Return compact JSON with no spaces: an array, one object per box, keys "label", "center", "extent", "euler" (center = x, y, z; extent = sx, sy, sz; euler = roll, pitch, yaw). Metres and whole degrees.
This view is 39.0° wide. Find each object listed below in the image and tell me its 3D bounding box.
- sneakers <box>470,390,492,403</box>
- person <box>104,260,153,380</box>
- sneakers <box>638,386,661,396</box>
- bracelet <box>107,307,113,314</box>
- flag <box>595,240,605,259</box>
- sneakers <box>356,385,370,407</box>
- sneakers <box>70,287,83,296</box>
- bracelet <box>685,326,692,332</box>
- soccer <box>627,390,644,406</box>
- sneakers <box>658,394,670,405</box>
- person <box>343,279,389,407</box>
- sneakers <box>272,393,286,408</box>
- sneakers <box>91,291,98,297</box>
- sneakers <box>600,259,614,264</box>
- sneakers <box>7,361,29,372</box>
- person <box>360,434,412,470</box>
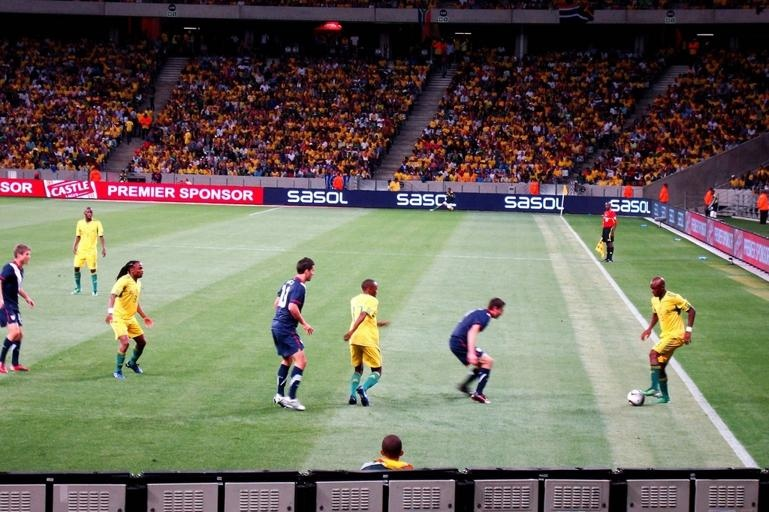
[{"label":"sneakers","center":[2.552,3.692,28.485],"extent":[0.510,0.220,0.220],"euler":[30,27,3]},{"label":"person","center":[-6.817,1.649,29.240],"extent":[1.036,3.091,1.109],"euler":[5,14,3]},{"label":"sneakers","center":[6.959,3.574,28.551],"extent":[0.576,0.247,0.214],"euler":[2,30,3]},{"label":"bracelet","center":[-7.279,1.462,28.887],"extent":[0.206,0.151,0.219],"euler":[-1,4,-8]},{"label":"flag","center":[8.922,-0.261,44.953],"extent":[0.238,0.612,0.626],"euler":[-18,-27,19]},{"label":"sneakers","center":[-0.509,3.610,28.096],"extent":[0.212,0.590,0.257],"euler":[-20,-1,14]},{"label":"sneakers","center":[-10.160,1.140,36.022],"extent":[0.369,0.169,0.149],"euler":[1,12,6]},{"label":"bracelet","center":[7.961,1.896,28.353],"extent":[0.223,0.167,0.224],"euler":[0,-1,1]},{"label":"soccer","center":[6.538,3.680,28.273],"extent":[0.435,0.397,0.392],"euler":[8,15,14]},{"label":"sneakers","center":[7.297,3.753,28.439],"extent":[0.330,0.228,0.171],"euler":[2,4,6]},{"label":"person","center":[-0.511,2.223,27.923],"extent":[0.973,3.225,0.823],"euler":[-2,15,-22]},{"label":"sneakers","center":[-2.650,3.692,27.971],"extent":[0.398,0.273,0.207],"euler":[4,9,5]},{"label":"sneakers","center":[-9.512,1.220,35.910],"extent":[0.210,0.135,0.119],"euler":[7,-6,-33]},{"label":"sneakers","center":[8.959,0.183,43.609],"extent":[0.559,0.239,0.187],"euler":[4,4,5]},{"label":"sneakers","center":[-9.823,2.996,29.313],"extent":[0.506,0.214,0.181],"euler":[4,10,-10]},{"label":"person","center":[0.138,4.457,24.214],"extent":[1.219,0.788,0.873],"euler":[4,-8,-6]}]
